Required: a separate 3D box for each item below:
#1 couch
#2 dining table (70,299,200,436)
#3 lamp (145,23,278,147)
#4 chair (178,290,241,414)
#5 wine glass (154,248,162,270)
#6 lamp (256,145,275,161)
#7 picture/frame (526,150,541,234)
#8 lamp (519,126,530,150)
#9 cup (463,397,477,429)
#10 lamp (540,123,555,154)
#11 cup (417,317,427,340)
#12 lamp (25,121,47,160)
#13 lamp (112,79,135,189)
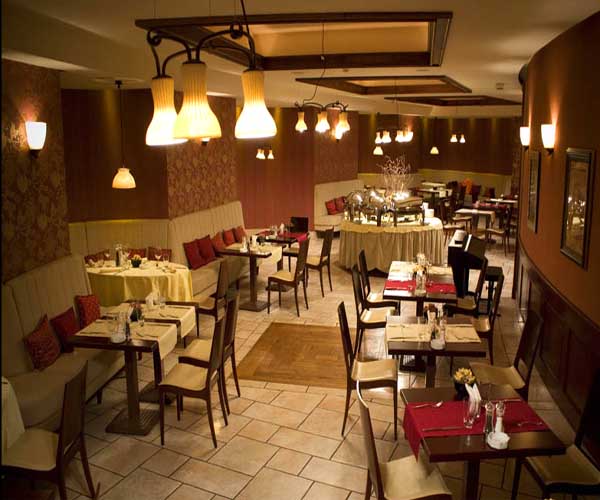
[{"bbox_3d":[-2.434,1.050,4.873,0.432,0.986,1.413,3,21,2],"label":"couch"},{"bbox_3d":[-1.750,1.125,5.286,0.798,1.353,1.700,3,13,7],"label":"dining table"},{"bbox_3d":[-0.479,-0.875,2.545,0.671,0.625,0.642,-11,17,-23],"label":"lamp"},{"bbox_3d":[-1.042,1.184,5.463,0.673,1.543,0.729,7,12,7],"label":"chair"},{"bbox_3d":[-2.265,0.142,7.662,0.123,0.381,0.141,-7,26,-16],"label":"wine glass"},{"bbox_3d":[-0.929,-2.615,13.029,0.439,0.356,0.501,1,2,16],"label":"lamp"},{"bbox_3d":[3.399,-0.910,7.009,0.029,0.867,0.749,2,25,38],"label":"picture/frame"},{"bbox_3d":[3.612,-1.801,7.702,0.143,0.371,0.843,5,14,23],"label":"lamp"},{"bbox_3d":[1.238,1.164,3.485,0.087,0.187,0.137,10,16,40],"label":"cup"},{"bbox_3d":[3.040,-1.368,5.886,0.156,0.366,0.329,5,14,25],"label":"lamp"},{"bbox_3d":[1.261,0.831,5.029,0.120,0.252,0.133,0,10,4],"label":"cup"},{"bbox_3d":[-3.038,-1.283,5.525,0.191,0.361,0.209,1,1,28],"label":"lamp"},{"bbox_3d":[-2.859,-1.763,7.701,0.379,1.726,1.480,-5,13,-20],"label":"lamp"}]
